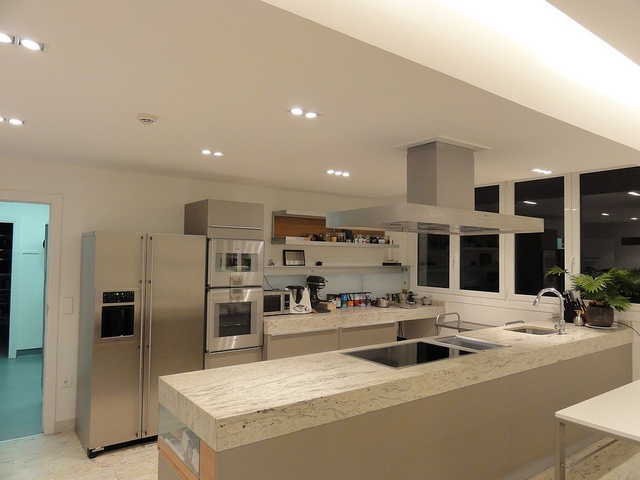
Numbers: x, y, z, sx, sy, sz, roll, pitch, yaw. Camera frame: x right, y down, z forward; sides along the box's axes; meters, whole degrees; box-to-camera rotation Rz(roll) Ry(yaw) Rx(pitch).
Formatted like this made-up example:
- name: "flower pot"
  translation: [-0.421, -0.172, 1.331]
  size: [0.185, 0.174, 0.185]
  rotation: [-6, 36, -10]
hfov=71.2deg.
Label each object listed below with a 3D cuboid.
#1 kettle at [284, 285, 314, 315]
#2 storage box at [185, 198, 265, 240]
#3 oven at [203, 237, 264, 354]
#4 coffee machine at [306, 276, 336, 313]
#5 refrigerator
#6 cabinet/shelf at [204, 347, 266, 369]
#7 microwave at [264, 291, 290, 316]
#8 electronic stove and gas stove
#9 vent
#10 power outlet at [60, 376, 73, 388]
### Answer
- name: "kettle"
  translation: [-0.266, 0.782, 5.792]
  size: [0.384, 0.361, 0.320]
  rotation: [9, -15, -41]
- name: "storage box"
  translation: [-1.117, -0.261, 5.198]
  size: [0.926, 0.440, 0.559]
  rotation: [3, 6, -11]
- name: "oven"
  translation: [-0.960, 0.607, 5.077]
  size: [0.669, 1.268, 0.314]
  rotation: [1, 7, -25]
- name: "coffee machine"
  translation: [-0.115, 0.728, 6.255]
  size: [0.484, 0.584, 0.358]
  rotation: [-5, -8, 34]
- name: "refrigerator"
  translation: [-1.788, 0.999, 4.620]
  size: [1.155, 2.158, 0.424]
  rotation: [-2, 9, -42]
- name: "cabinet/shelf"
  translation: [-0.964, 1.270, 5.057]
  size: [0.589, 0.261, 0.518]
  rotation: [0, -9, -25]
- name: "microwave"
  translation: [-0.536, 0.784, 5.590]
  size: [0.509, 0.312, 0.252]
  rotation: [6, -9, -43]
- name: "electronic stove and gas stove"
  translation: [0.731, 0.907, 3.590]
  size: [0.978, 0.069, 0.601]
  rotation: [0, 7, -37]
- name: "vent"
  translation: [0.980, -0.441, 3.775]
  size: [1.612, 0.807, 0.815]
  rotation: [1, 7, -30]
- name: "power outlet"
  translation: [-2.727, 1.517, 4.780]
  size: [0.149, 0.151, 0.018]
  rotation: [2, -3, -36]
